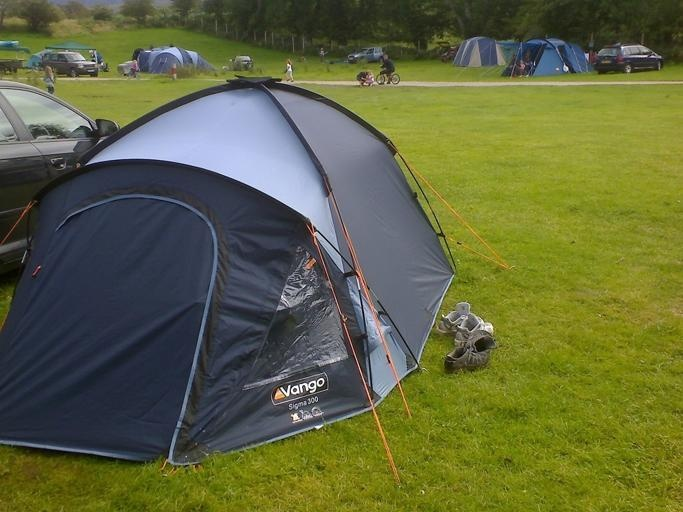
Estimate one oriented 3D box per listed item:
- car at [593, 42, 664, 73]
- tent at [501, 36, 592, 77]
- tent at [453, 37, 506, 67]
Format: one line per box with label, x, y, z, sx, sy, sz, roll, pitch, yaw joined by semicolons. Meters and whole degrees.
car;15.336;-10.547;33.420;3.103;1.229;1.689;-19;29;-29
tent;11.868;-11.212;35.621;2.812;1.548;3.663;8;26;32
tent;9.352;-13.867;42.656;2.243;1.618;2.518;1;31;5
